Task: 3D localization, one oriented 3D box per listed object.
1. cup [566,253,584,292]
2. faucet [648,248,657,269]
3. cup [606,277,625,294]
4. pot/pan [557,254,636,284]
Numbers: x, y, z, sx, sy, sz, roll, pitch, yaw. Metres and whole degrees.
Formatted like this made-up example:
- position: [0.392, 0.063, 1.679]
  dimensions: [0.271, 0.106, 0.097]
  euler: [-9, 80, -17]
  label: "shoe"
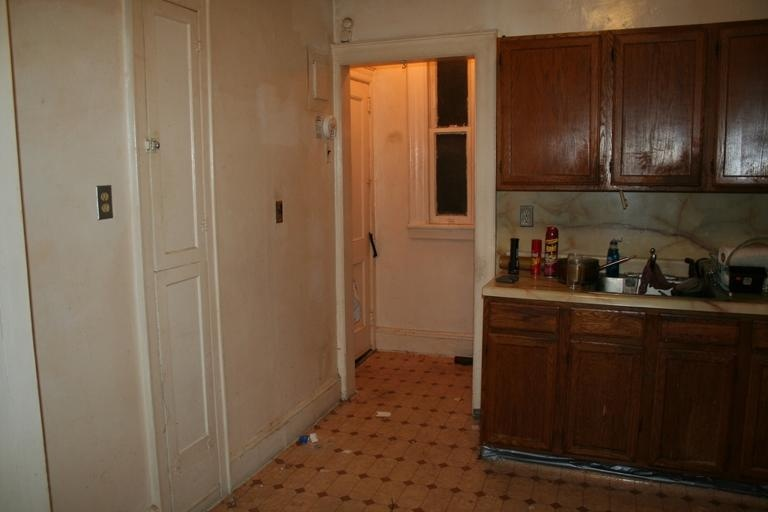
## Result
- position: [1.274, 0.111, 4.094]
  dimensions: [0.089, 0.200, 0.169]
  euler: [2, 10, 17]
  label: "cup"
- position: [1.845, 0.022, 4.186]
  dimensions: [0.057, 0.045, 0.170]
  euler: [-13, 26, 18]
  label: "faucet"
- position: [1.652, 0.209, 4.380]
  dimensions: [0.131, 0.121, 0.122]
  euler: [0, 1, 0]
  label: "cup"
- position: [1.401, 0.060, 4.171]
  dimensions: [0.406, 0.159, 0.236]
  euler: [1, 5, 16]
  label: "pot/pan"
